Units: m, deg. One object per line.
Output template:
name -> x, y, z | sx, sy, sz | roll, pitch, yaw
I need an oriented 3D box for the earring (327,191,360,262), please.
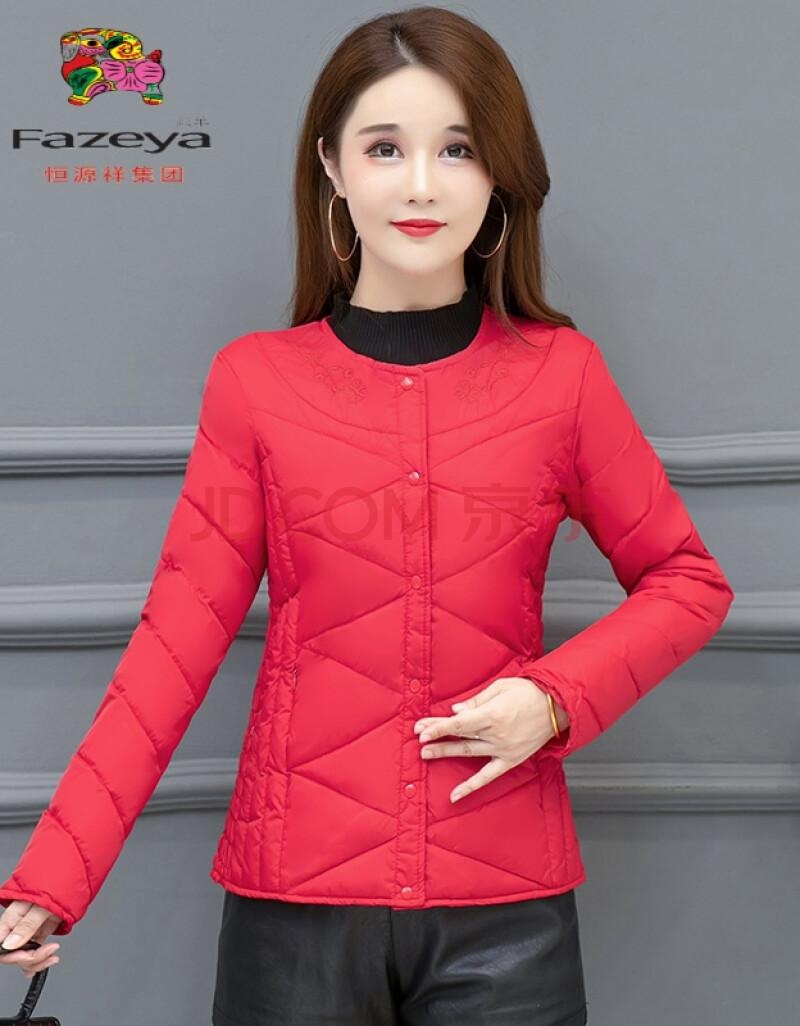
earring -> -0.067, -0.346, 1.212 | 0.049, 0.067, 0.013 | -4, 10, -28

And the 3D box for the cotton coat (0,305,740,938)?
cotton coat -> -0.071, 0.086, 1.179 | 1.114, 0.709, 0.324 | 0, -4, -3
